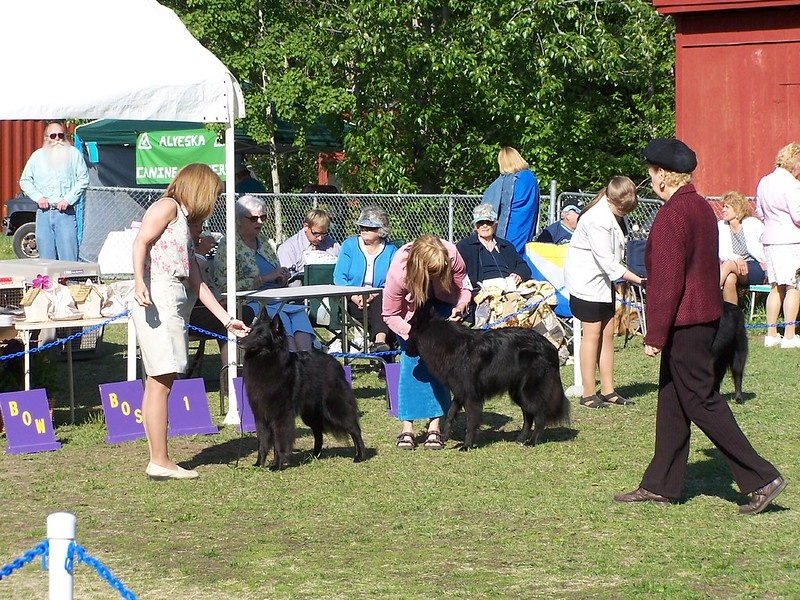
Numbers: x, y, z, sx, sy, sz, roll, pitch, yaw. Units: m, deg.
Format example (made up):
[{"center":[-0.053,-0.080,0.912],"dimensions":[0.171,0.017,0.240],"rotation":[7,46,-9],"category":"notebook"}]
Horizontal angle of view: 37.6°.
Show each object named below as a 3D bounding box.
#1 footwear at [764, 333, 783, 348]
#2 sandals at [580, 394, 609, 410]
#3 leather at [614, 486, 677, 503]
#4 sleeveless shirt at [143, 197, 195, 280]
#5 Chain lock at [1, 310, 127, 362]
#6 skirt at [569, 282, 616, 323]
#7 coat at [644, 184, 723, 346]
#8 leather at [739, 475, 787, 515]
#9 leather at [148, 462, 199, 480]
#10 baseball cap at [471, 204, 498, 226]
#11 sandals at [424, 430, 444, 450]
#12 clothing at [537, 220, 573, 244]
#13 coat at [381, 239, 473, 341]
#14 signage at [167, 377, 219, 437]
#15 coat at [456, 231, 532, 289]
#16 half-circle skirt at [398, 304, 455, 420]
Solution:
[{"center":[4.201,0.448,13.234],"dimensions":[0.255,0.111,0.097],"rotation":[-6,8,-44],"category":"footwear"},{"center":[1.743,0.916,10.600],"dimensions":[0.193,0.086,0.122],"rotation":[0,1,39],"category":"sandals"},{"center":[1.665,1.317,8.074],"dimensions":[0.377,0.155,0.144],"rotation":[4,0,12],"category":"leather"},{"center":[-1.673,-0.426,8.484],"dimensions":[0.356,0.490,0.180],"rotation":[-3,-1,-20],"category":"sleeveless shirt"},{"center":[-3.106,0.324,10.707],"dimensions":[1.477,0.131,0.229],"rotation":[-14,-43,6],"category":"Chain lock"},{"center":[1.672,-0.043,10.303],"dimensions":[0.289,0.305,0.430],"rotation":[2,5,24],"category":"skirt"},{"center":[1.876,-0.241,7.882],"dimensions":[0.540,1.092,0.272],"rotation":[-3,-1,3],"category":"coat"},{"center":[2.405,1.306,7.861],"dimensions":[0.277,0.263,0.274],"rotation":[-3,0,0],"category":"leather"},{"center":[-1.682,1.241,8.695],"dimensions":[0.361,0.137,0.142],"rotation":[0,2,-17],"category":"leather"},{"center":[0.835,-0.875,11.706],"dimensions":[0.211,0.181,0.330],"rotation":[-3,0,0],"category":"baseball cap"},{"center":[0.270,1.128,9.419],"dimensions":[0.126,0.110,0.353],"rotation":[-1,-2,3],"category":"sandals"},{"center":[1.784,-0.770,13.563],"dimensions":[0.432,0.448,0.244],"rotation":[-2,11,-8],"category":"clothing"},{"center":[0.201,-0.116,9.253],"dimensions":[0.680,0.684,0.498],"rotation":[-12,24,-10],"category":"coat"},{"center":[-1.770,0.918,9.914],"dimensions":[0.533,0.544,0.281],"rotation":[-2,-7,-33],"category":"signage"},{"center":[0.945,-0.416,11.946],"dimensions":[0.871,0.578,0.467],"rotation":[-6,5,-34],"category":"coat"},{"center":[0.189,0.617,9.366],"dimensions":[0.563,1.144,0.228],"rotation":[-3,28,-3],"category":"half-circle skirt"}]
